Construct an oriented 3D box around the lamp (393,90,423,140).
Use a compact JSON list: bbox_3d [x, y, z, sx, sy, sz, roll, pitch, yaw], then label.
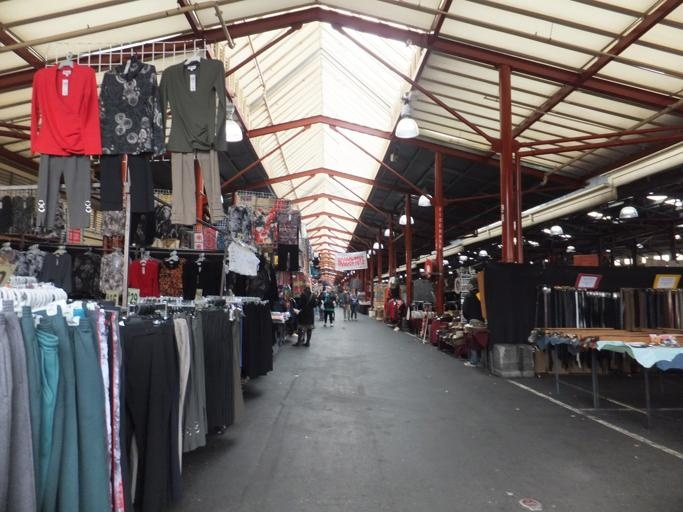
[{"bbox_3d":[1.232,-2.659,10.738,0.404,0.886,1.290,0,5,7],"label":"lamp"}]
